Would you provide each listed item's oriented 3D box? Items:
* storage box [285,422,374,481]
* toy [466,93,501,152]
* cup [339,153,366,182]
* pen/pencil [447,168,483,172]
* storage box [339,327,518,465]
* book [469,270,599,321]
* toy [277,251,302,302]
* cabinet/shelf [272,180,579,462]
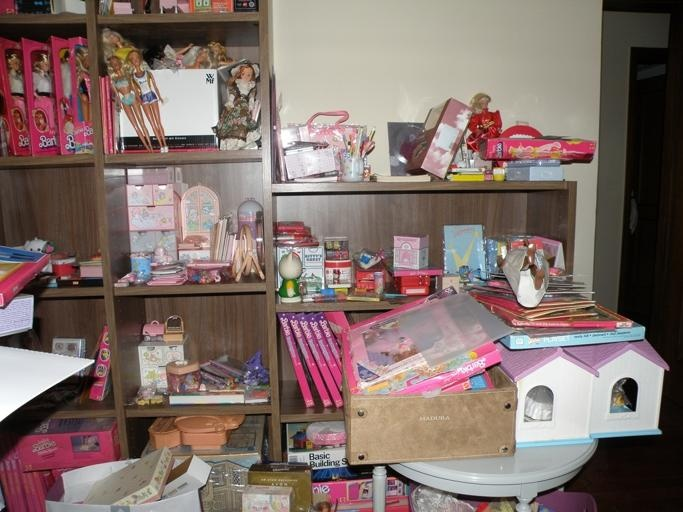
[{"bbox_3d":[-0.094,0.813,2.397,0.268,0.252,0.187,0,-10,-2],"label":"storage box"},{"bbox_3d":[0.593,-0.567,2.322,0.145,0.246,0.212,-1,10,17],"label":"toy"},{"bbox_3d":[0.042,-0.342,2.158,0.097,0.108,0.106,0,0,0],"label":"cup"},{"bbox_3d":[0.494,-0.342,2.211,0.125,0.023,0.028,-2,9,10],"label":"pen/pencil"},{"bbox_3d":[0.304,0.471,1.823,0.392,0.153,0.409,-1,14,-4],"label":"storage box"},{"bbox_3d":[0.663,0.140,2.033,0.465,0.126,0.248,1,11,29],"label":"book"},{"bbox_3d":[-0.203,0.079,2.215,0.107,0.194,0.101,-5,9,-5],"label":"toy"},{"bbox_3d":[0.292,0.257,2.066,1.159,1.114,0.373,-1,5,-4],"label":"cabinet/shelf"}]
